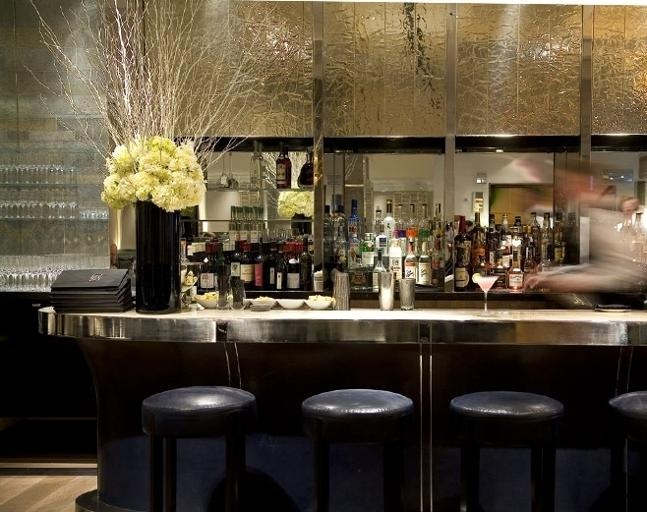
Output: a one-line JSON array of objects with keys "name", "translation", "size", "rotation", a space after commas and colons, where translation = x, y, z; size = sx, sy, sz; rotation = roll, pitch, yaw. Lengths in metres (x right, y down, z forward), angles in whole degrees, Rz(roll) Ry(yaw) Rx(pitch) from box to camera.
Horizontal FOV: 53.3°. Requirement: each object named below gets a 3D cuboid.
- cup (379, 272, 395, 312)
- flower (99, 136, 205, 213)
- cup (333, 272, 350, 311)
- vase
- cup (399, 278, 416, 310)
[{"name": "cup", "translation": [0.325, 0.186, 3.345], "size": [0.076, 0.192, 0.120], "rotation": [0, 2, 4]}, {"name": "flower", "translation": [-0.878, -0.366, 3.407], "size": [0.433, 0.412, 0.381], "rotation": [-2, -4, 29]}, {"name": "cup", "translation": [0.094, 0.193, 3.387], "size": [0.084, 0.186, 0.208], "rotation": [0, 2, 1]}, {"name": "vase", "translation": [-0.846, 0.004, 3.292], "size": [0.201, 0.566, 0.099], "rotation": [-1, 2, -13]}, {"name": "cup", "translation": [0.439, 0.201, 3.397], "size": [0.072, 0.164, 0.190], "rotation": [0, 2, 6]}]
